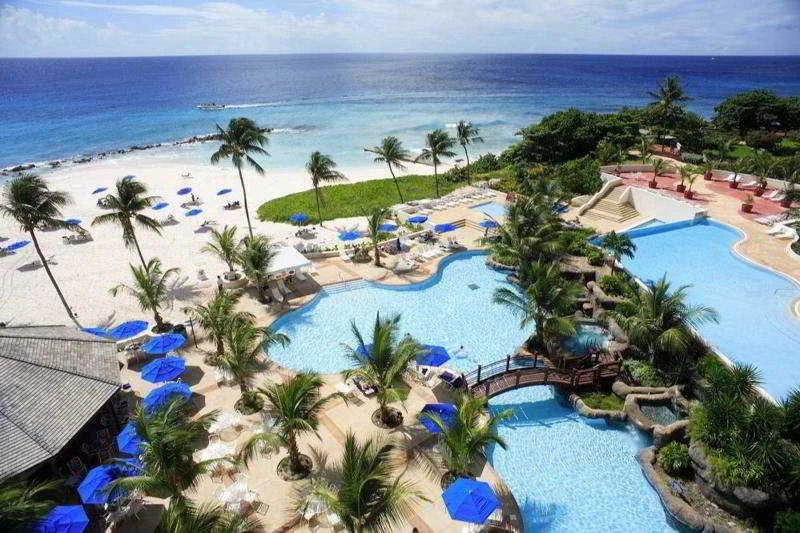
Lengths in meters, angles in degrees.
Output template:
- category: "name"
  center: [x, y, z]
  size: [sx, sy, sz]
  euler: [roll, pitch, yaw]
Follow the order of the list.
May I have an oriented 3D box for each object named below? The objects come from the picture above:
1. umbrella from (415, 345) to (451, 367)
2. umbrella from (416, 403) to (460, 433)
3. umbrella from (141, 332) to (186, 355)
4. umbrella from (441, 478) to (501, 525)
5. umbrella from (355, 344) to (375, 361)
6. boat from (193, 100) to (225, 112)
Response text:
- category: "umbrella"
  center: [2.057, 5.854, 29.390]
  size: [1.611, 1.535, 1.571]
  euler: [23, 63, 6]
- category: "umbrella"
  center: [2.073, 8.418, 25.871]
  size: [1.858, 1.828, 1.721]
  euler: [-11, 77, -16]
- category: "umbrella"
  center: [-15.368, 5.005, 30.062]
  size: [1.890, 0.916, 1.847]
  euler: [16, 39, 11]
- category: "umbrella"
  center: [3.296, 11.358, 22.239]
  size: [2.139, 1.555, 2.190]
  euler: [-36, 53, -25]
- category: "umbrella"
  center: [-2.247, 5.275, 28.190]
  size: [1.204, 0.823, 1.107]
  euler: [0, 34, 3]
- category: "boat"
  center: [-61.580, -51.833, 149.037]
  size: [8.459, 1.156, 10.532]
  euler: [-14, 30, -19]
